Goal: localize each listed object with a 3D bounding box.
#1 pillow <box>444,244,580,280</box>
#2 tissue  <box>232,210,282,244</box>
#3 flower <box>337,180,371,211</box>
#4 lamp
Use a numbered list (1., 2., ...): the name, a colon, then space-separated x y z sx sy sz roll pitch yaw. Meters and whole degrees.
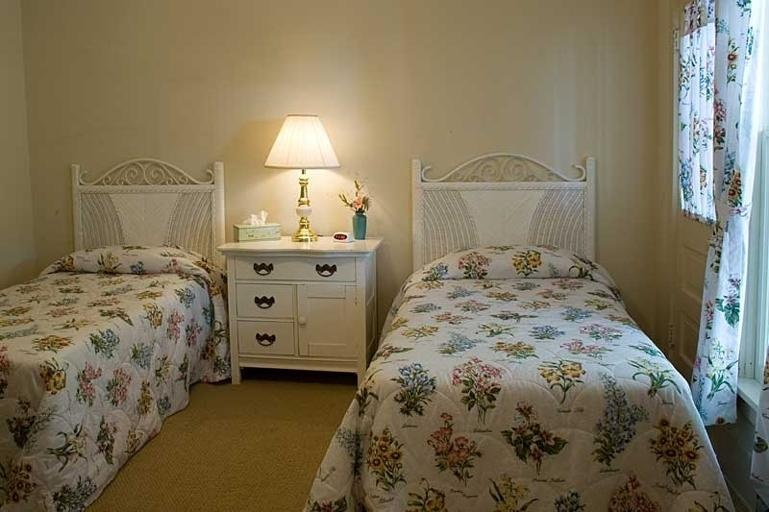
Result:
1. pillow: 0.848 0.046 3.729 0.921 0.180 0.238 -1 12 5
2. tissue : -0.942 -0.297 4.150 0.372 0.259 0.210 -3 9 -22
3. flower: -0.212 -0.425 4.105 0.216 0.240 0.129 -13 -7 25
4. lamp: -0.576 -0.575 4.086 0.508 0.899 0.339 -3 12 -4
